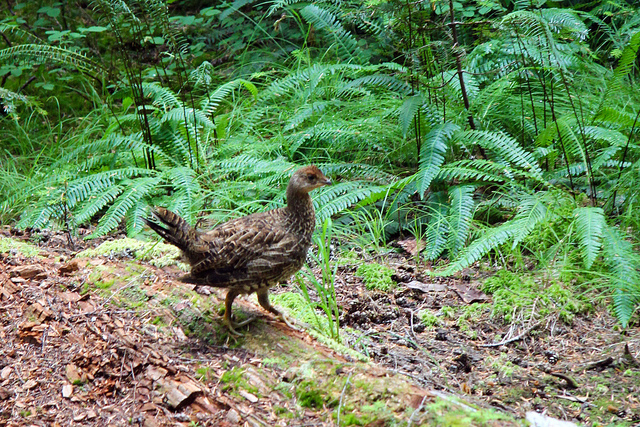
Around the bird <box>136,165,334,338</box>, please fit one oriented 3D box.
[{"bbox_3d":[-0.730,0.327,5.227,1.838,1.280,0.878,-4,13,-30],"label":"bird"}]
